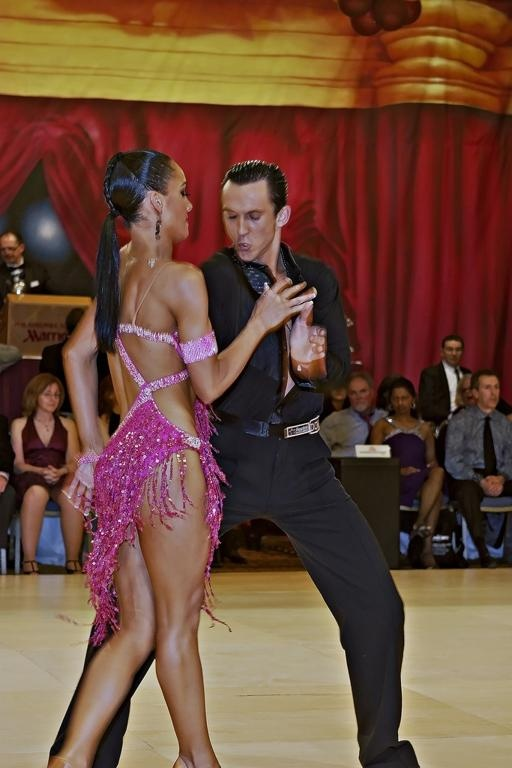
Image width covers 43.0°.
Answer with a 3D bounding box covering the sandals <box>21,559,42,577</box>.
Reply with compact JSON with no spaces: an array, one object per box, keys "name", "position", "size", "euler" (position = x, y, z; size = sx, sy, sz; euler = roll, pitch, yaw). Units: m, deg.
[{"name":"sandals","position":[-1.635,1.325,4.699],"size":[0.068,0.068,0.177],"euler":[1,12,-13]}]
